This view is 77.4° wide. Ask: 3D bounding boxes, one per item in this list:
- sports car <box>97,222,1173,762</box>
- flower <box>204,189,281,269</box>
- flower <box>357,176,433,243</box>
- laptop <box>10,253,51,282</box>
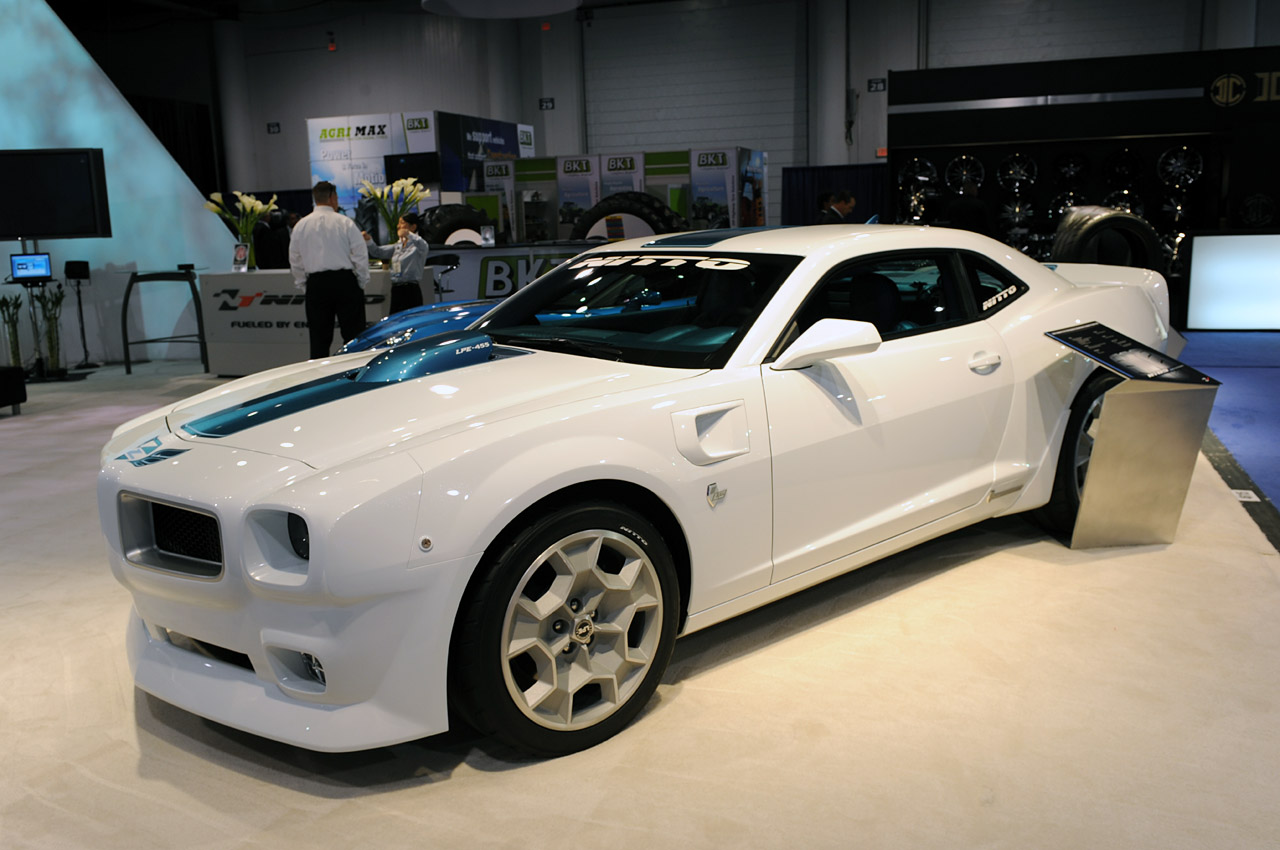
[{"bbox_3d":[0.270,0.096,3.421,4.071,1.344,1.941,-8,12,-35],"label":"sports car"},{"bbox_3d":[-5.460,-2.613,10.994,0.868,1.019,0.855,-8,12,-25],"label":"flower"},{"bbox_3d":[-3.333,-2.856,10.800,0.771,0.935,0.846,11,21,40],"label":"flower"},{"bbox_3d":[-8.285,-2.116,10.866,0.474,0.381,0.343,-11,16,-30],"label":"laptop"}]
